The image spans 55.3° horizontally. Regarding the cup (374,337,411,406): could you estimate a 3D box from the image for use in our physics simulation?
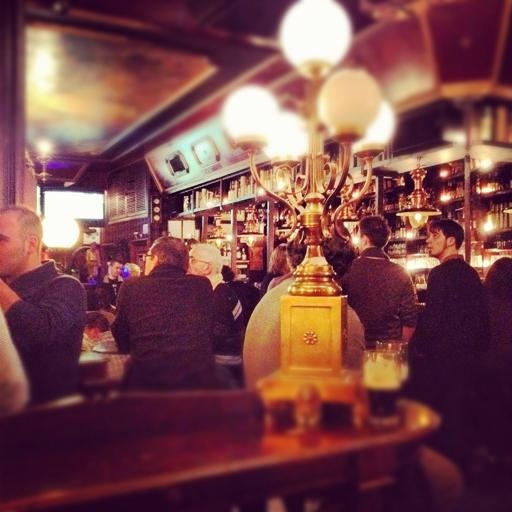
[{"bbox_3d":[0.391,0.324,1.418,0.106,0.183,0.112,2,-5,0],"label":"cup"}]
